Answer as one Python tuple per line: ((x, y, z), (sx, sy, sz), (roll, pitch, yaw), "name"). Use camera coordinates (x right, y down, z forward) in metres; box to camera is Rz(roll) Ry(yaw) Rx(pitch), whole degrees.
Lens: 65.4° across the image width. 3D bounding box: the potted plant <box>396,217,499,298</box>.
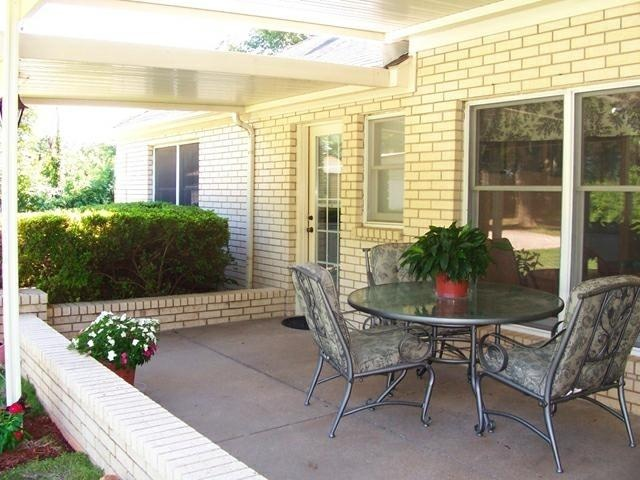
((1.072, 0.154, 4.459), (0.700, 0.494, 0.701), (0, -1, -4), "potted plant")
